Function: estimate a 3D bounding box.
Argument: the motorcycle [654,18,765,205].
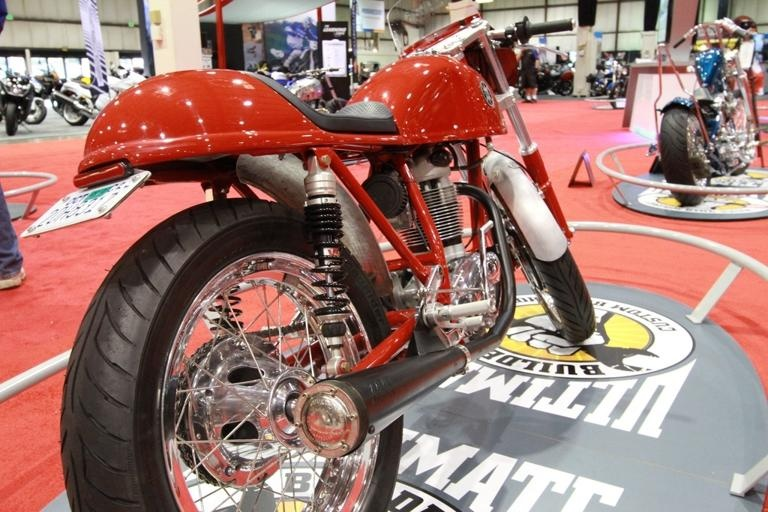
[{"bbox_3d":[3.539,-1.652,5.363,2.522,1.591,0.790,-30,19,-37],"label":"motorcycle"}]
